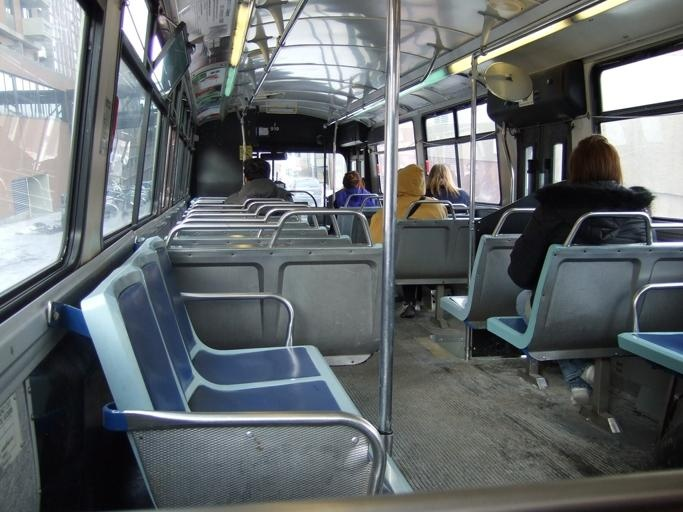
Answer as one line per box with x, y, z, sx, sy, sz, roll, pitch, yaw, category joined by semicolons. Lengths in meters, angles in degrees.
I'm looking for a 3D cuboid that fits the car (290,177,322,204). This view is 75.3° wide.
-1.317;-2.273;15.695;1.065;0.902;1.826;-1;0;-13;car

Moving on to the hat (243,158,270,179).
-1.541;-1.503;7.960;0.389;0.364;0.401;-3;-1;-13;hat

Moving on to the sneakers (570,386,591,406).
1.856;1.049;3.437;0.120;0.132;0.096;18;17;16;sneakers
